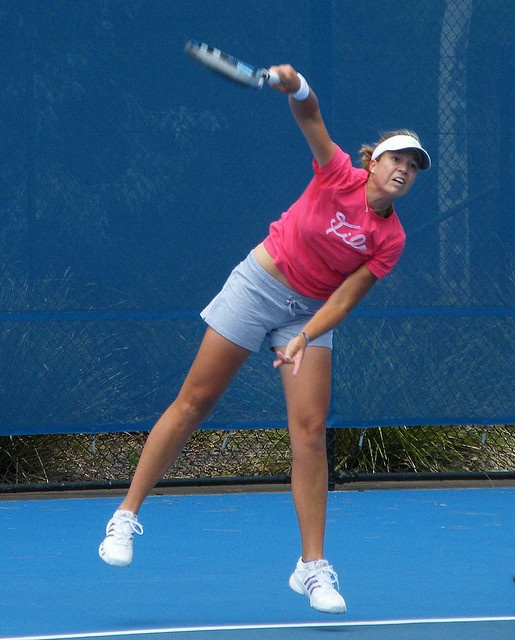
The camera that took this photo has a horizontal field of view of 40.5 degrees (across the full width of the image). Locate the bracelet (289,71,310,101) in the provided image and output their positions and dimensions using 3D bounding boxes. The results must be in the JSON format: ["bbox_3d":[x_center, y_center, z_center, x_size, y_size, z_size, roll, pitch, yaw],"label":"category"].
[{"bbox_3d":[0.133,-0.716,2.133,0.066,0.071,0.062,-7,-4,-12],"label":"bracelet"}]

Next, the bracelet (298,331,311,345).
[{"bbox_3d":[0.148,0.055,2.175,0.019,0.044,0.037,-41,5,-1],"label":"bracelet"}]

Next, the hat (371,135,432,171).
[{"bbox_3d":[0.452,-0.541,2.192,0.175,0.107,0.117,-2,-24,-2],"label":"hat"}]

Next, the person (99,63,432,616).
[{"bbox_3d":[0.090,0.131,2.241,0.654,1.516,1.122,15,-31,-34],"label":"person"}]

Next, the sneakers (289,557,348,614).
[{"bbox_3d":[0.190,0.843,2.211,0.135,0.171,0.187,2,-25,-11],"label":"sneakers"}]

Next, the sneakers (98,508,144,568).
[{"bbox_3d":[-0.443,0.709,2.269,0.120,0.174,0.093,13,-30,-30],"label":"sneakers"}]
